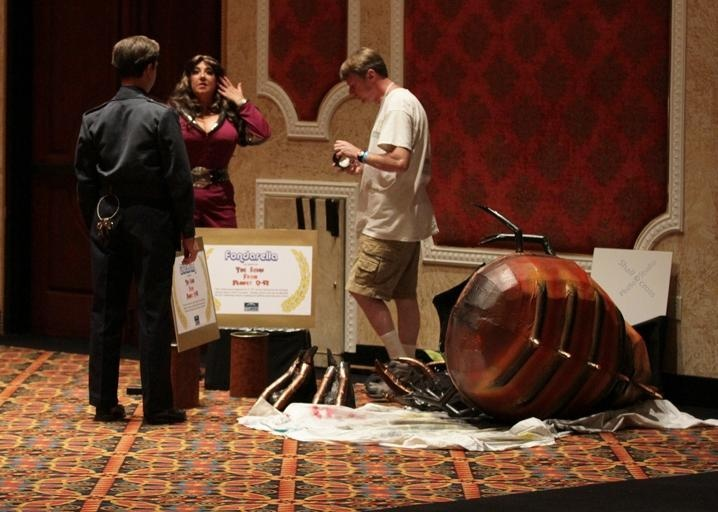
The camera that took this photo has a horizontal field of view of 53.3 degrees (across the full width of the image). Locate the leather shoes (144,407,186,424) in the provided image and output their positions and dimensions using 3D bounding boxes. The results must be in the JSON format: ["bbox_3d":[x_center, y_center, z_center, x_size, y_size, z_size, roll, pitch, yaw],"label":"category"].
[{"bbox_3d":[-1.101,0.922,4.110,0.270,0.108,0.088,-2,5,-16],"label":"leather shoes"}]

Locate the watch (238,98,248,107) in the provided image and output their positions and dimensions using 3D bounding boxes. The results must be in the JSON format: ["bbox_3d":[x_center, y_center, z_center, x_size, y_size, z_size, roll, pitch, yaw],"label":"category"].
[{"bbox_3d":[-0.804,-1.069,4.946,0.054,0.050,0.049,12,4,-11],"label":"watch"}]

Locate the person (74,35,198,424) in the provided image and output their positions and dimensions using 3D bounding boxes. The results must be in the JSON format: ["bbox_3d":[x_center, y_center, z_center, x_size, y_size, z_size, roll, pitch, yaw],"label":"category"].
[{"bbox_3d":[-1.272,-0.155,4.077,0.652,2.206,0.423,-3,8,-15],"label":"person"}]

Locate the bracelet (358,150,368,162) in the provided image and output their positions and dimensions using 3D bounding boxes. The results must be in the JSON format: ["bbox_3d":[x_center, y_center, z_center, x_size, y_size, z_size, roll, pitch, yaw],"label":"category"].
[{"bbox_3d":[0.030,-0.625,4.387,0.017,0.059,0.063,21,-14,-40],"label":"bracelet"}]

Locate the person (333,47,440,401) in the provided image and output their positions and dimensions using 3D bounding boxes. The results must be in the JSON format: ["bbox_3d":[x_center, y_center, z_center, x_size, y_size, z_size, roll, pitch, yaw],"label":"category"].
[{"bbox_3d":[0.182,-0.233,4.619,0.669,2.244,0.565,0,8,4],"label":"person"}]

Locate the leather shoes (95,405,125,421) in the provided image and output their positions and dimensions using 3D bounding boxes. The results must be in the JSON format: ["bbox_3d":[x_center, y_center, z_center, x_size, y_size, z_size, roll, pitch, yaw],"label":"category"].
[{"bbox_3d":[-1.424,0.899,4.114,0.077,0.082,0.175,6,6,42],"label":"leather shoes"}]

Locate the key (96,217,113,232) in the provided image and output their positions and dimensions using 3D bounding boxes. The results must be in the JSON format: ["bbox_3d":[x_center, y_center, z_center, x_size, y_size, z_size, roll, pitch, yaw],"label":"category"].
[{"bbox_3d":[-1.417,-0.180,3.963,0.069,0.042,0.087,-1,-1,-1],"label":"key"}]
